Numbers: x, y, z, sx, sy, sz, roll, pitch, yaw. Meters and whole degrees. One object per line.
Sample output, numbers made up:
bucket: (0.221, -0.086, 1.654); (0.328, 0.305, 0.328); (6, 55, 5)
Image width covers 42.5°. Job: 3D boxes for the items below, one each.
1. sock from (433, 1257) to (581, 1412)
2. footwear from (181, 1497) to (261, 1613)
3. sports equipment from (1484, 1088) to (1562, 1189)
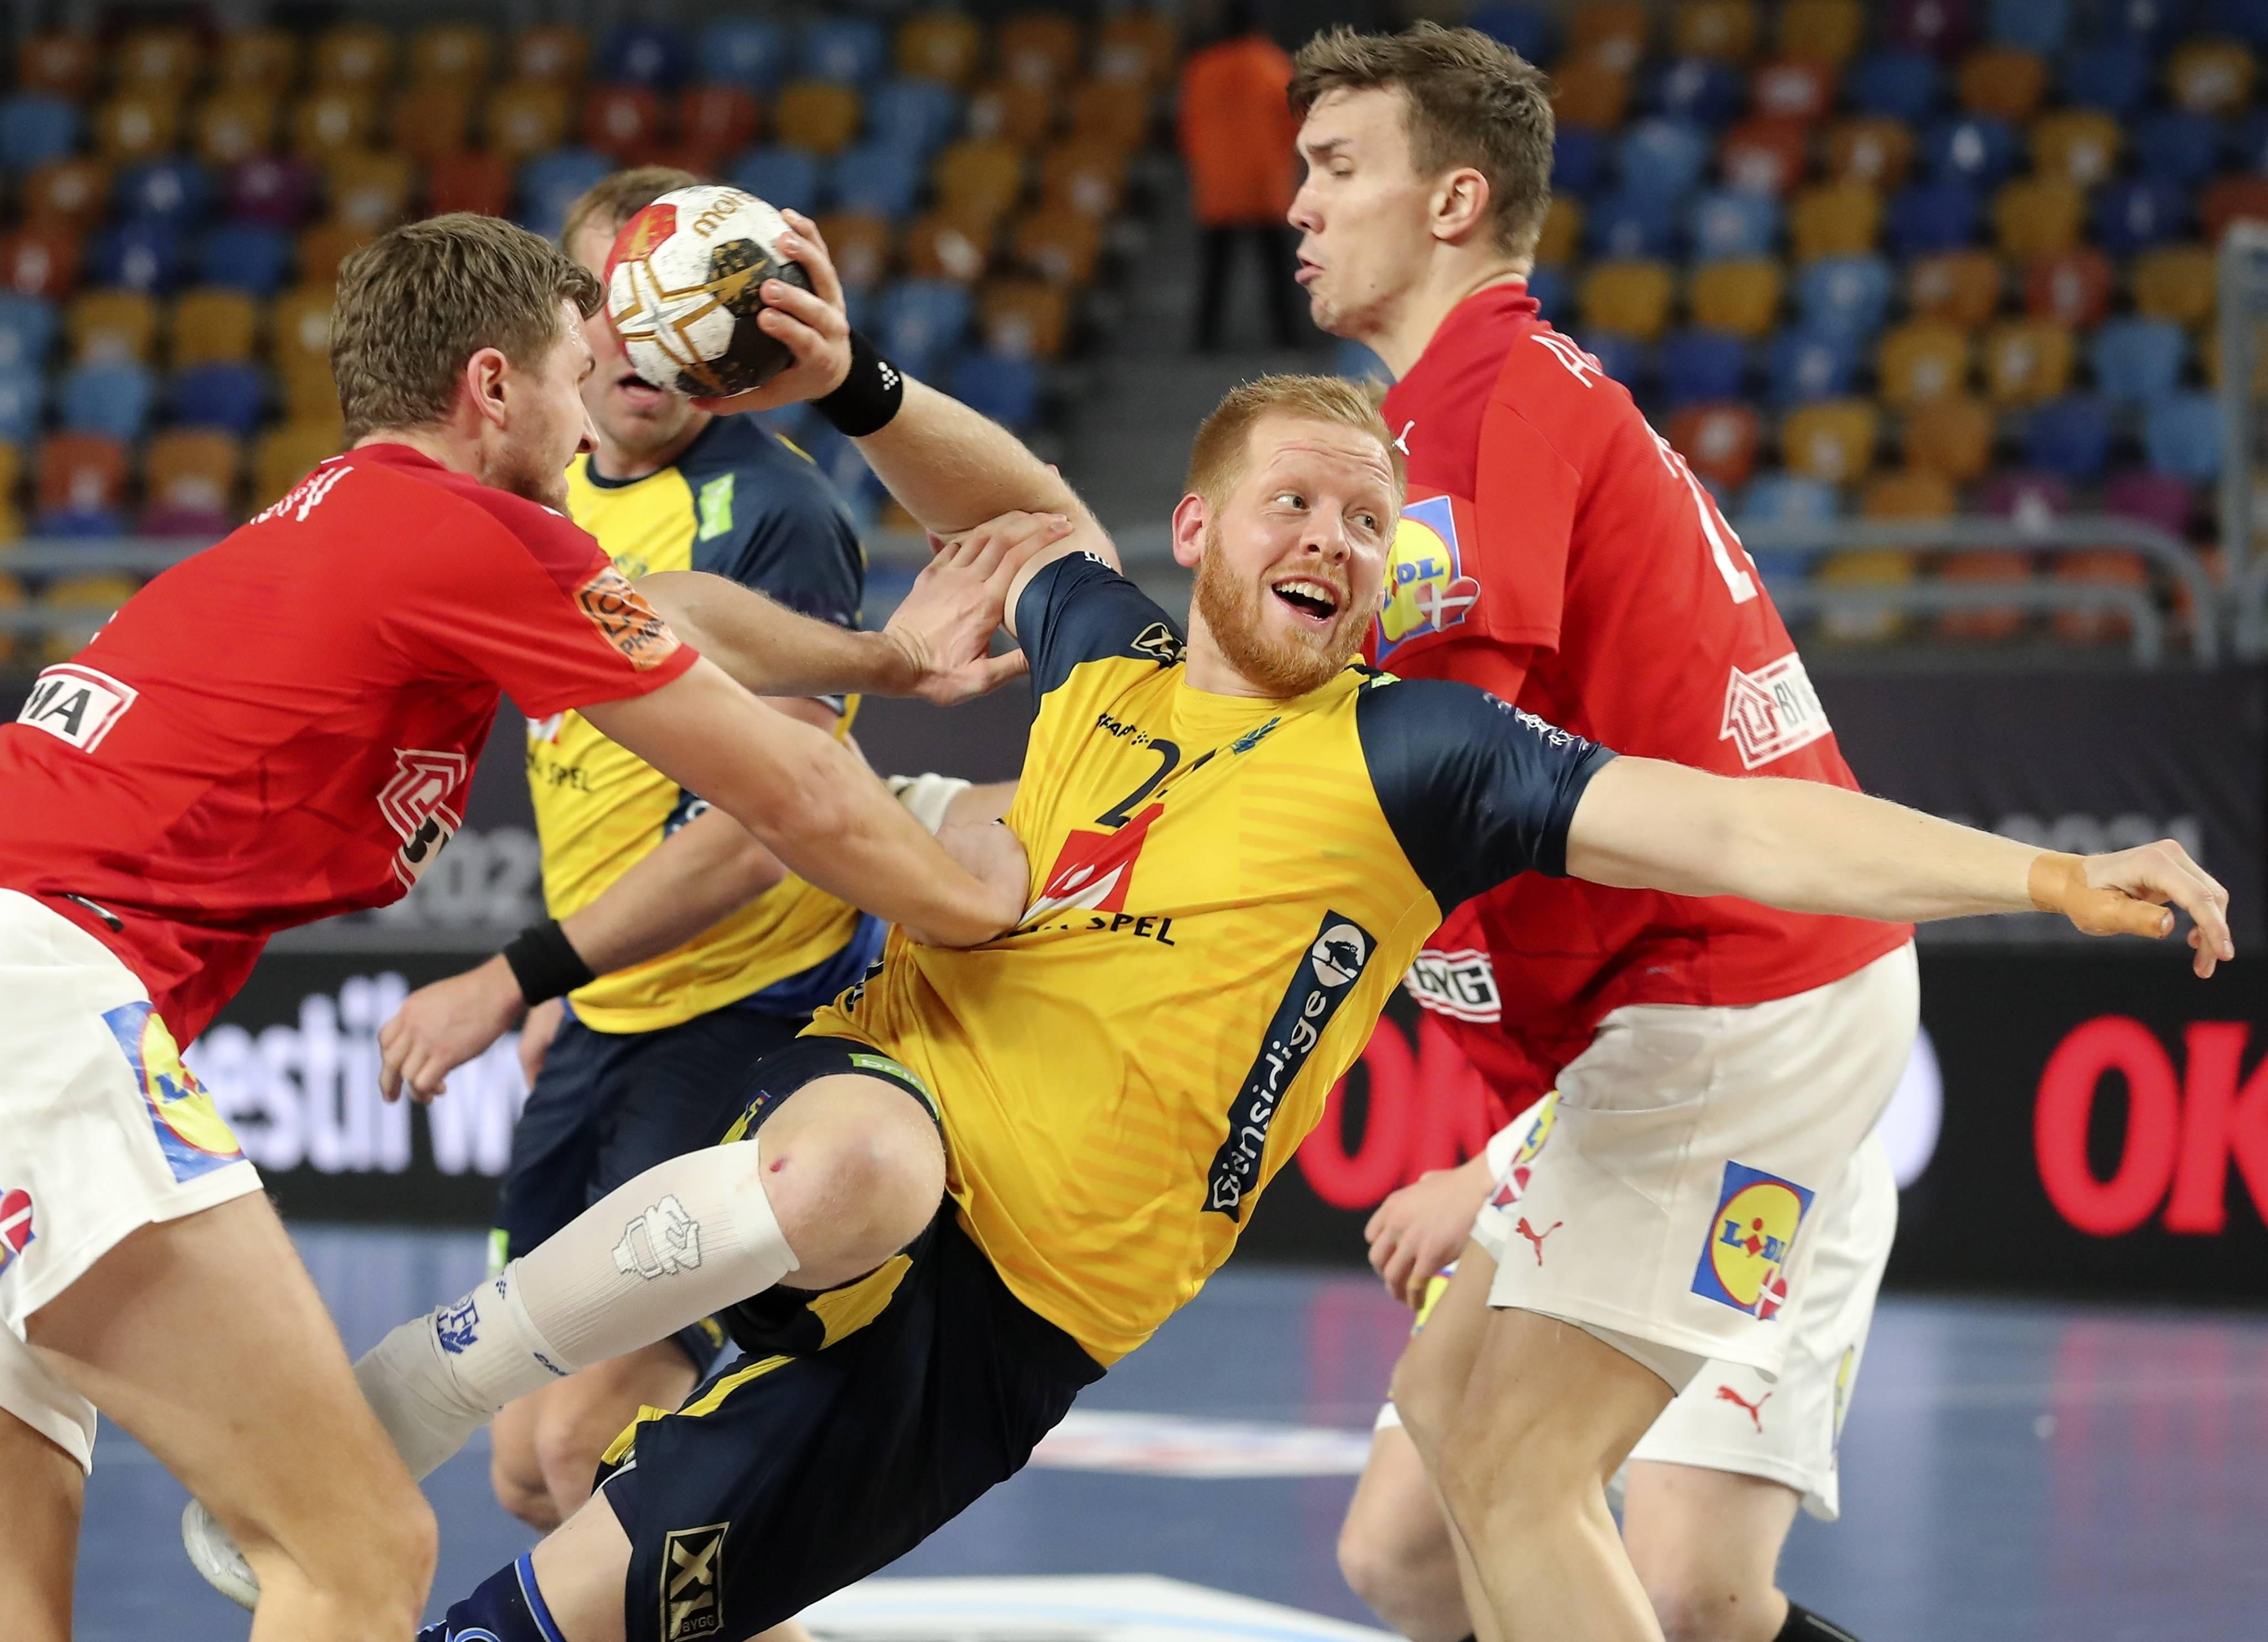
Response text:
sock: (-1.178, 0.954, 5.559); (0.202, 0.313, 0.292); (1, 17, 25)
footwear: (-1.718, 1.361, 5.551); (0.072, 0.233, 0.188); (-21, -18, -32)
sports equipment: (0.818, 0.670, 6.164); (0.101, 0.251, 0.091); (17, 31, -25)
